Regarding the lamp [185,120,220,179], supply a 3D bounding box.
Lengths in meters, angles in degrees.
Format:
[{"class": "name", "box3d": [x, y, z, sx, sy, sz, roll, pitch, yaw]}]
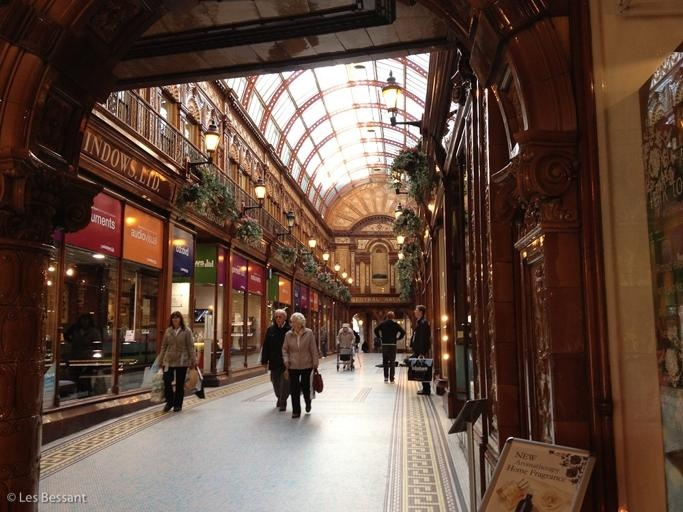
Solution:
[{"class": "lamp", "box3d": [-3.306, -2.561, 11.349, 0.898, 1.591, 0.536, -7, 14, -33]}]

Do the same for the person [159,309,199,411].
[{"class": "person", "box3d": [-3.542, 2.265, 10.399, 0.760, 2.086, 0.469, 2, -7, -16]}]

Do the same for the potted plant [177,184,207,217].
[{"class": "potted plant", "box3d": [-3.946, -1.514, 12.868, 0.643, 0.812, 0.316, 0, 6, -10]}]

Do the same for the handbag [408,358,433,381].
[{"class": "handbag", "box3d": [1.987, 2.854, 12.201, 0.512, 0.584, 0.273, -2, -11, 16]}]

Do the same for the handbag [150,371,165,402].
[{"class": "handbag", "box3d": [-3.874, 2.724, 10.161, 0.244, 0.647, 0.234, 3, -8, -22]}]

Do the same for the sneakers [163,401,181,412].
[{"class": "sneakers", "box3d": [-3.623, 3.209, 10.327, 0.110, 0.269, 0.366, -6, -36, 25]}]
